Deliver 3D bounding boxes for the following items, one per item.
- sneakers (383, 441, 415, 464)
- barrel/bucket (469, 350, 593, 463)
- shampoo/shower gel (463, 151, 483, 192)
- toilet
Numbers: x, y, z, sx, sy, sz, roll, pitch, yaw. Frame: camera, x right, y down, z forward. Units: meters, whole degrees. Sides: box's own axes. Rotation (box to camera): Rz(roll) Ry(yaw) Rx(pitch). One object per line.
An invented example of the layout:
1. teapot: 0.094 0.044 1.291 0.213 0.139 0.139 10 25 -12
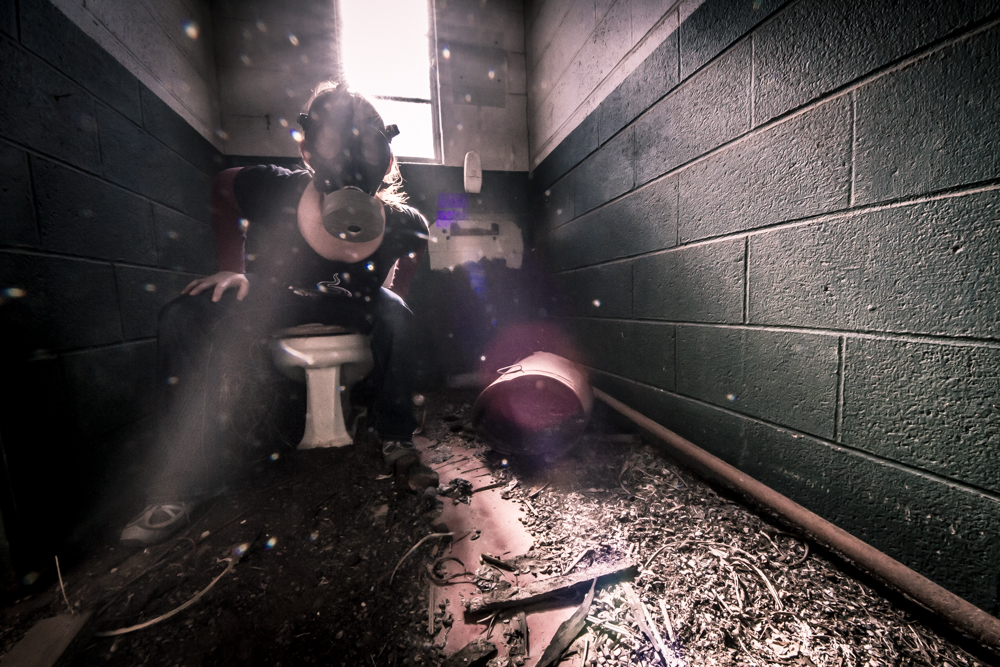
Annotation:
1. sneakers: -0.434 0.520 2.519 0.094 0.050 0.125 4 -5 -28
2. barrel/bucket: 0.169 0.368 2.976 0.599 0.732 0.583 -3 -9 0
3. shampoo/shower gel: -0.170 -1.049 3.778 0.102 0.252 0.113 0 7 -3
4. toilet: -0.904 0.251 2.914 0.518 0.575 0.535 3 7 15
